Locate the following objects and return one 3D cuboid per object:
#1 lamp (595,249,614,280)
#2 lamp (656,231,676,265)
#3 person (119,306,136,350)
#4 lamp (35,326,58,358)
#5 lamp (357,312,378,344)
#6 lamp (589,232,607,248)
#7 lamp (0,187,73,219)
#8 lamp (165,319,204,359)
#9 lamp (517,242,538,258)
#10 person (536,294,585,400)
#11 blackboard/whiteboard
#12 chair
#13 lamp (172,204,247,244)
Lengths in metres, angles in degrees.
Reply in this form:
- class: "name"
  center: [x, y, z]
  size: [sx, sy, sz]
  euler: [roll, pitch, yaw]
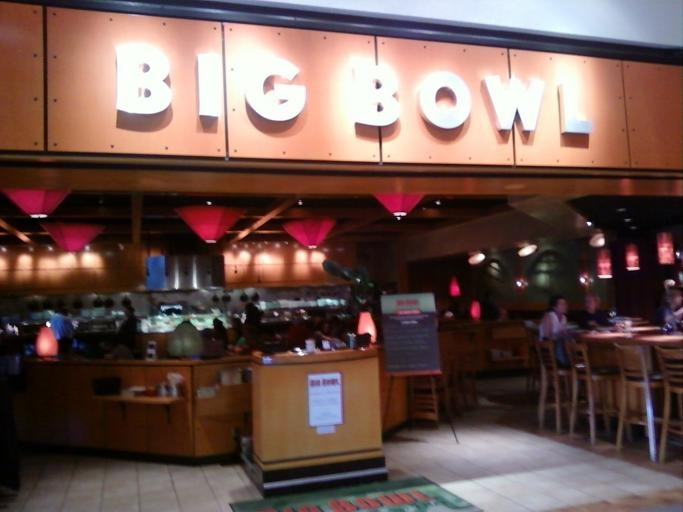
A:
- class: "lamp"
  center: [5.486, 0.133, 11.829]
  size: [0.237, 0.583, 0.354]
  euler: [-3, -3, 18]
- class: "lamp"
  center: [6.203, -0.174, 10.814]
  size: [0.269, 0.611, 1.077]
  euler: [-4, -3, 31]
- class: "person"
  center: [-4.624, 1.543, 12.185]
  size: [0.385, 0.850, 1.171]
  euler: [-1, -3, -22]
- class: "lamp"
  center: [-4.494, 1.299, 8.597]
  size: [0.283, 0.425, 0.567]
  euler: [-1, -3, -29]
- class: "lamp"
  center: [0.364, 1.028, 8.174]
  size: [0.381, 0.576, 0.393]
  euler: [-1, 7, 3]
- class: "lamp"
  center: [5.490, -0.348, 12.111]
  size: [0.231, 0.312, 0.840]
  euler: [-4, -2, 28]
- class: "lamp"
  center: [-3.382, -0.601, 6.241]
  size: [0.551, 0.210, 0.551]
  euler: [-3, -3, -32]
- class: "lamp"
  center: [-2.094, 1.035, 7.350]
  size: [0.454, 0.212, 0.628]
  euler: [0, 35, -23]
- class: "lamp"
  center: [3.923, -0.156, 12.009]
  size: [0.506, 0.211, 0.802]
  euler: [7, -7, 9]
- class: "person"
  center: [3.280, 1.290, 8.426]
  size: [0.556, 1.296, 0.510]
  euler: [-10, 3, 11]
- class: "blackboard/whiteboard"
  center: [0.888, 1.149, 7.395]
  size: [0.923, 1.103, 0.139]
  euler: [-1, -10, -2]
- class: "chair"
  center: [3.382, 1.781, 7.259]
  size: [0.546, 1.130, 1.601]
  euler: [1, -2, -21]
- class: "lamp"
  center: [-1.874, -0.519, 8.380]
  size: [0.643, 0.310, 0.640]
  euler: [-1, -2, 35]
